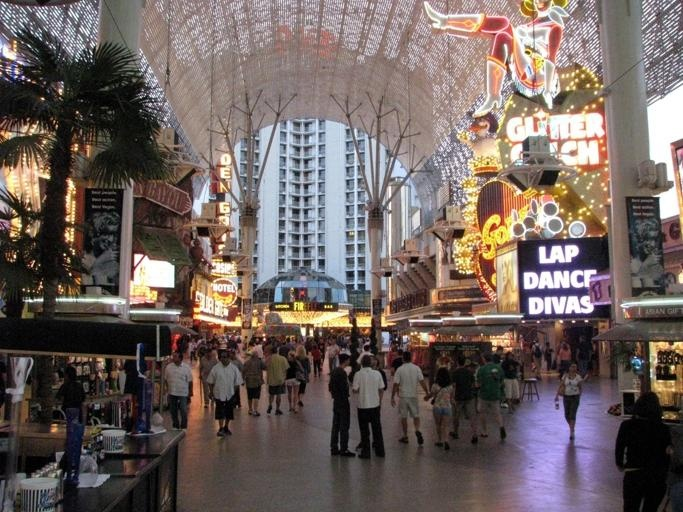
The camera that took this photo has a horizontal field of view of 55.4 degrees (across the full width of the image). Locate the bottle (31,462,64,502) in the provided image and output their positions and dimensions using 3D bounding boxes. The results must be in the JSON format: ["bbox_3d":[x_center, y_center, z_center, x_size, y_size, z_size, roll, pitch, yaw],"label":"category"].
[{"bbox_3d":[-2.776,2.136,6.147,0.249,0.276,0.141,9,14,-12],"label":"bottle"}]

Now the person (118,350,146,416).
[{"bbox_3d":[-2.849,1.703,8.955,0.286,1.020,0.261,0,28,-12],"label":"person"}]

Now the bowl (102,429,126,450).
[{"bbox_3d":[-2.834,2.255,8.041,0.256,0.210,0.211,-1,-6,37],"label":"bowl"}]
